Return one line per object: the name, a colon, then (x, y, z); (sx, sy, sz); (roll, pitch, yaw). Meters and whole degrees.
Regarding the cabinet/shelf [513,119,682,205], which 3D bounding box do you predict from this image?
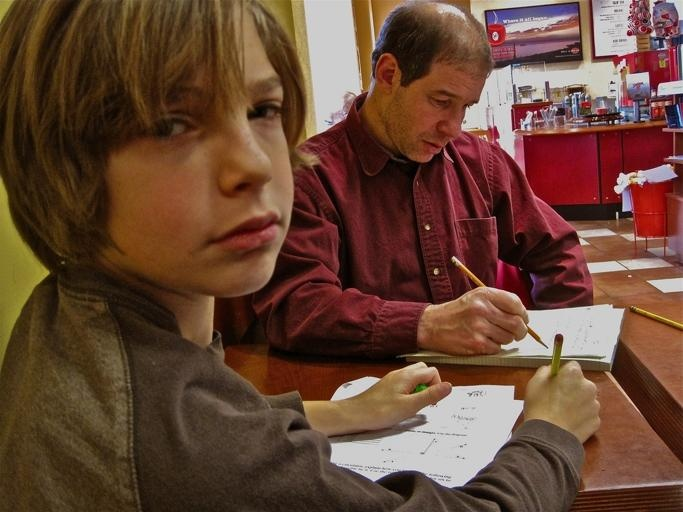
cabinet/shelf: (2.850, -0.907, 6.695); (1.134, 0.723, 1.206); (-2, 12, 5)
